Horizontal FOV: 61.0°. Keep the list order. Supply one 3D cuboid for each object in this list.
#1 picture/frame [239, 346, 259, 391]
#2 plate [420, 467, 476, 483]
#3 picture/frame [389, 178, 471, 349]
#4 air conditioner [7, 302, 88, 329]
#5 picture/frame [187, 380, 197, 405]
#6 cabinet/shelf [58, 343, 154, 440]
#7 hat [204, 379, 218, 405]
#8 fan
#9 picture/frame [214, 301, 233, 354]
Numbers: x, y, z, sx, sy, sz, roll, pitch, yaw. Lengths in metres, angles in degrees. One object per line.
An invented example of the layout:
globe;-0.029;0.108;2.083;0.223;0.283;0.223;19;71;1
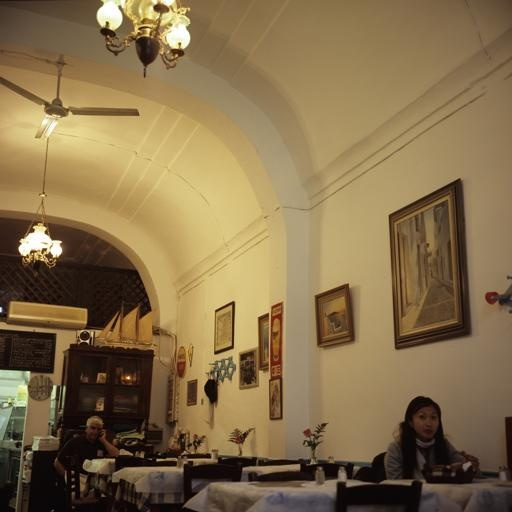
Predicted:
picture/frame;-0.099;1.585;6.067;0.032;0.607;0.512;6;-17;-23
plate;0.861;0.985;1.942;0.129;0.059;0.119;-1;-26;10
picture/frame;1.370;0.080;3.386;0.112;1.467;0.985;7;-17;-17
air conditioner;-4.054;1.161;8.463;1.421;0.456;0.279;13;-20;-28
picture/frame;-1.179;2.510;7.970;0.036;0.435;0.374;9;-22;-25
cabinet/shelf;-2.783;2.509;7.934;1.100;1.522;0.515;7;-26;-20
hat;-0.758;2.221;7.152;0.158;0.420;0.381;8;-19;-21
fan;-2.178;-1.655;4.760;0.958;0.516;1.103;20;-18;-30
picture/frame;-0.519;1.178;7.057;0.042;0.768;0.629;10;-22;-24
